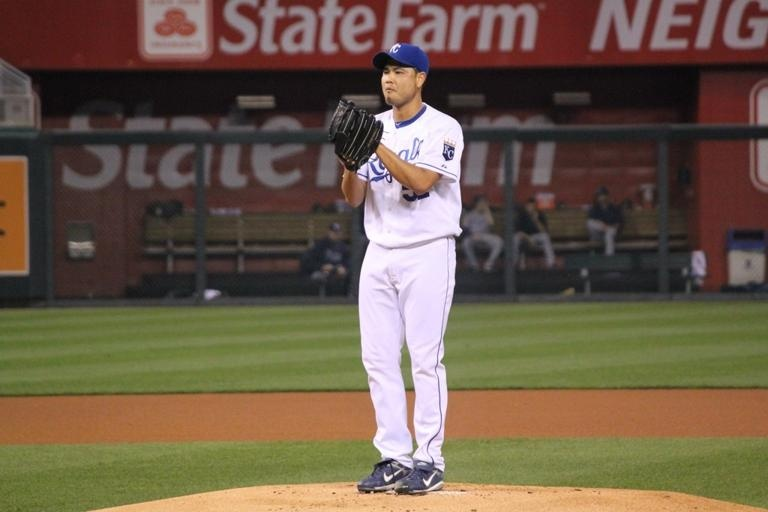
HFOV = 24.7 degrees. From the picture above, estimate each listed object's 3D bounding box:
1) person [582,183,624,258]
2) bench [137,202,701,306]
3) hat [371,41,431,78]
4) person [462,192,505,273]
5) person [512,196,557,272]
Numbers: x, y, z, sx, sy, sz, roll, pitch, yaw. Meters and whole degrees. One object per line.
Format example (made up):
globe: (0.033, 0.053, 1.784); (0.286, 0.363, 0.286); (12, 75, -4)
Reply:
person: (4.186, -0.647, 33.601); (0.689, 1.245, 0.418); (0, 0, 17)
bench: (0.828, 0.073, 31.865); (11.303, 1.693, 1.993); (-1, -1, 9)
hat: (0.236, -2.763, 24.808); (0.601, 0.305, 0.429); (9, 4, -14)
person: (1.888, -0.395, 33.817); (0.779, 1.464, 0.436); (0, 0, 3)
person: (2.879, -0.390, 33.740); (0.858, 1.306, 0.500); (0, 0, -7)
